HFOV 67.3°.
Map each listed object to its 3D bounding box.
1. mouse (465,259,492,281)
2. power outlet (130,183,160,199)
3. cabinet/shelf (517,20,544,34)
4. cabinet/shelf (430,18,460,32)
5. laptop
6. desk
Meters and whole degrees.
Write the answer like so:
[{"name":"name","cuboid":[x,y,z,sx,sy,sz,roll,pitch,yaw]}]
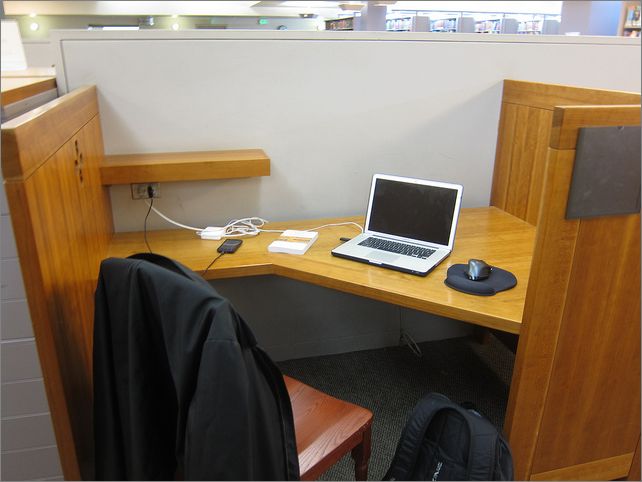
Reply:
[{"name":"mouse","cuboid":[0.576,0.101,1.734,0.113,0.059,0.063,-5,21,-13]},{"name":"power outlet","cuboid":[-0.800,-0.238,2.208,0.105,0.073,0.025,-6,16,-9]},{"name":"cabinet/shelf","cuboid":[4.087,-4.198,9.414,0.354,0.311,1.367,6,21,16]},{"name":"cabinet/shelf","cuboid":[2.538,-4.410,9.837,0.376,0.277,1.030,-2,20,-6]},{"name":"laptop","cuboid":[0.303,-0.078,1.930,0.478,0.278,0.445,6,21,18]},{"name":"desk","cuboid":[0.255,0.155,2.158,1.340,0.311,0.961,-3,29,29]}]
